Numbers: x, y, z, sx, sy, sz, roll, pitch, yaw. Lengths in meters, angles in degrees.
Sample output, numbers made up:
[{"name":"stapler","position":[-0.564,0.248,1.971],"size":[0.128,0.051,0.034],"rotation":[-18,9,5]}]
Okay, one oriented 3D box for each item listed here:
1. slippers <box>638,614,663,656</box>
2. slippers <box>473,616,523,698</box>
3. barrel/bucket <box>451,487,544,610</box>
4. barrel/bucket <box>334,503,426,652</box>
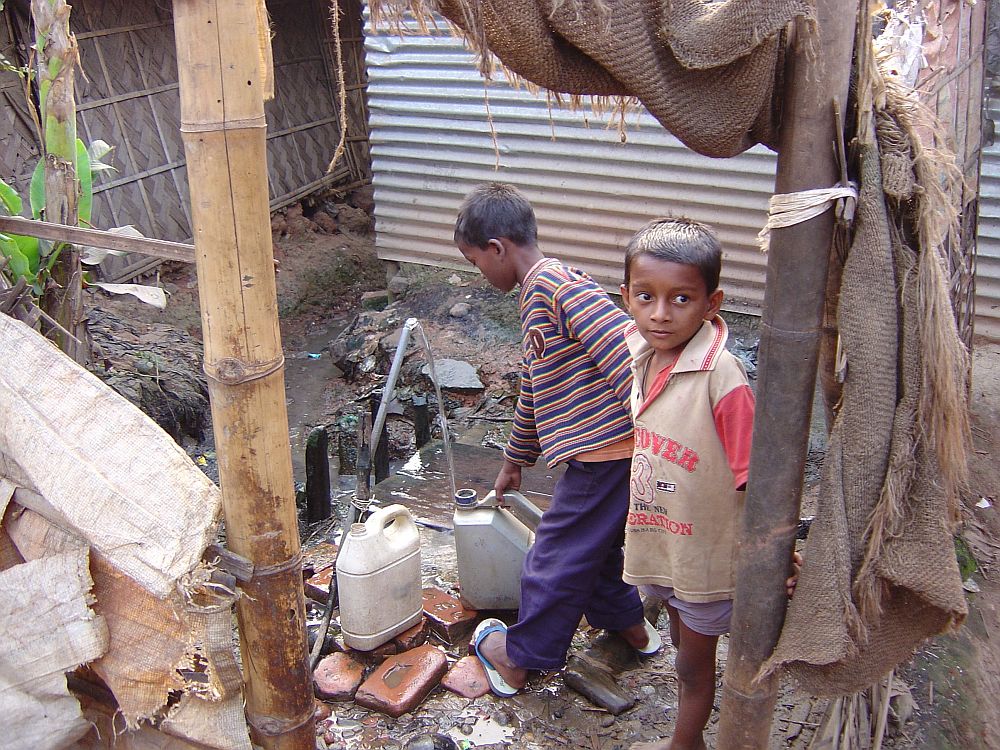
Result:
[{"name":"slippers","position":[0.669,1.170,3.527],"size":[0.087,0.039,0.159],"rotation":[-6,44,-14]},{"name":"slippers","position":[-0.019,1.202,3.377],"size":[0.131,0.106,0.342],"rotation":[-20,55,-12]},{"name":"barrel/bucket","position":[-0.009,0.785,3.486],"size":[0.511,0.608,0.190],"rotation":[1,12,3]},{"name":"barrel/bucket","position":[-0.508,0.889,3.347],"size":[0.225,0.641,0.466],"rotation":[18,27,39]}]
